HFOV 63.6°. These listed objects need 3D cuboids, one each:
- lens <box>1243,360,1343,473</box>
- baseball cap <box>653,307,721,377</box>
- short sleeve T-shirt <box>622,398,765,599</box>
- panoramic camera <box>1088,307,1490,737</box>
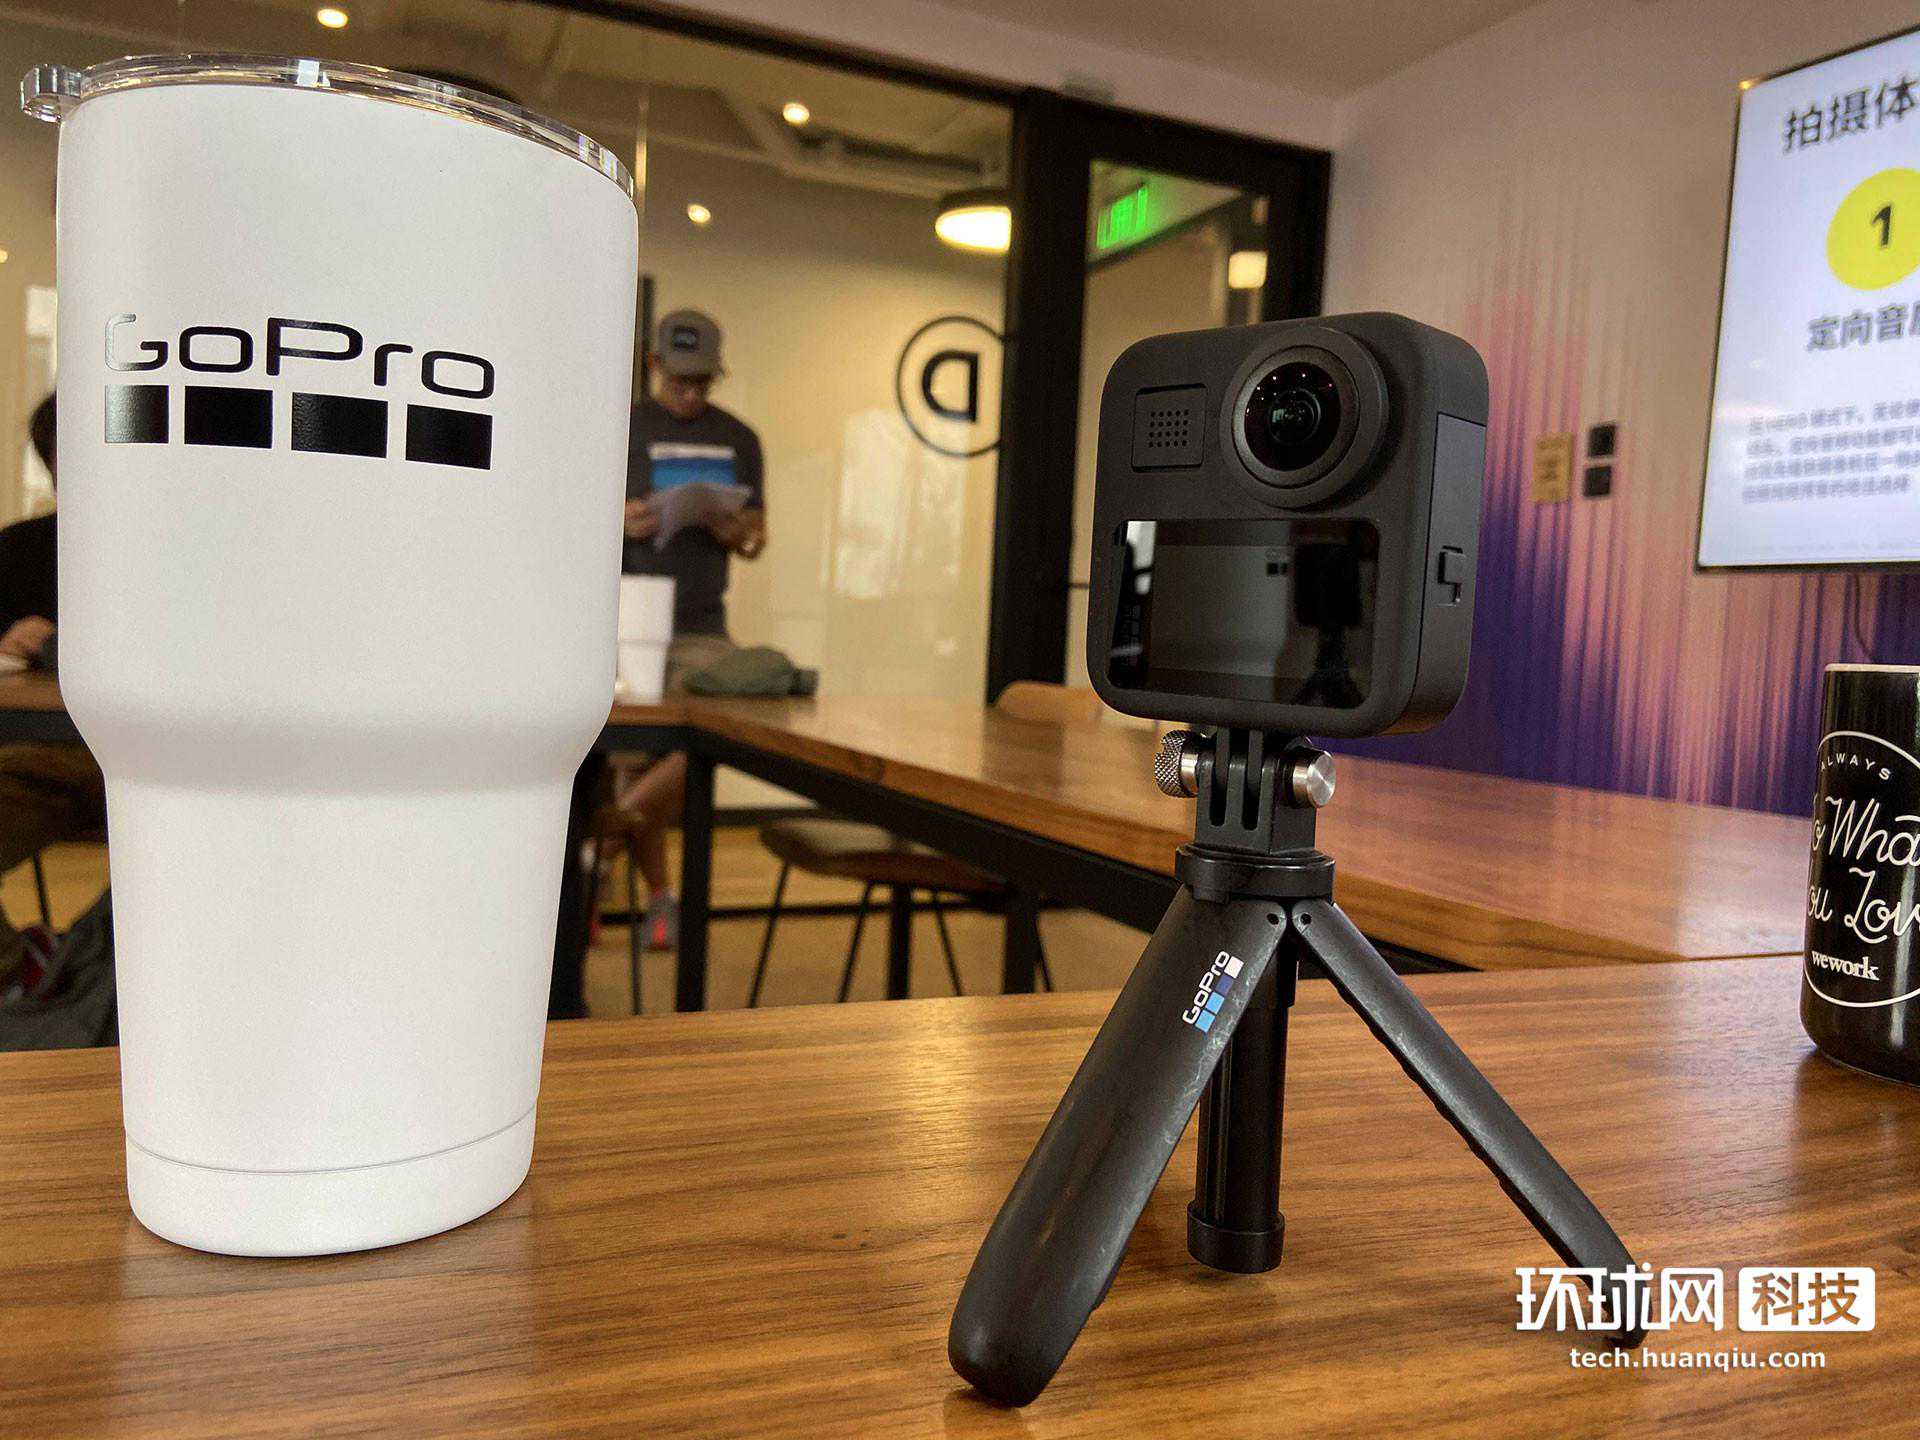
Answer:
[{"bbox_3d":[0.091,-0.082,0.419,0.025,0.029,0.005,17,18,41],"label":"lens"},{"bbox_3d":[-0.601,-0.823,3.419,0.132,0.116,0.217,3,28,-15],"label":"baseball cap"},{"bbox_3d":[-0.595,-0.517,3.384,0.198,0.710,0.502,5,4,-4],"label":"short sleeve T-shirt"},{"bbox_3d":[0.091,-0.055,0.452,0.051,0.119,0.114,-5,8,-43],"label":"panoramic camera"}]
